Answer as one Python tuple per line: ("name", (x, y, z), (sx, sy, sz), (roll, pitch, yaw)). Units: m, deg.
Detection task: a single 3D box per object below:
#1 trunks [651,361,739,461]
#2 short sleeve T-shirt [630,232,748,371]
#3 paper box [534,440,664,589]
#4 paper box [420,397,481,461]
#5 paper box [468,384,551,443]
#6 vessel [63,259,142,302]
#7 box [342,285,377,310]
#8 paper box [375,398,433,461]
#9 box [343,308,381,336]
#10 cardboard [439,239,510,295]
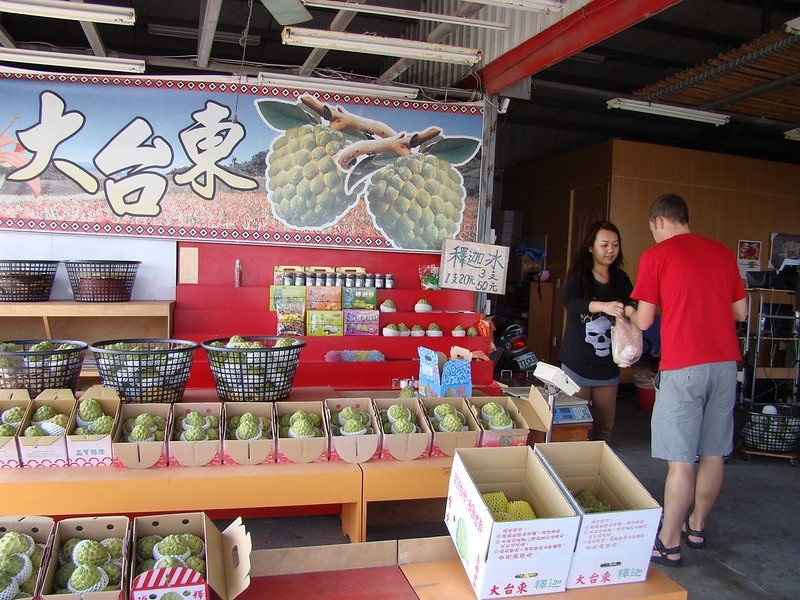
("trunks", (1.696, 0.631, 3.273), (0.418, 0.578, 0.198), (6, 7, 17))
("short sleeve T-shirt", (1.671, 0.020, 3.290), (0.595, 0.795, 0.239), (3, 6, -3))
("paper box", (0.721, 0.801, 2.241), (0.509, 0.271, 0.480), (-2, 15, -9))
("paper box", (0.247, 0.651, 3.010), (0.305, 0.125, 0.375), (3, 19, -6))
("paper box", (0.594, 0.640, 3.046), (0.388, 0.202, 0.358), (0, 16, -7))
("vessel", (-2.588, -0.158, 4.988), (0.486, 0.210, 0.440), (0, -5, 2))
("box", (-0.400, -0.013, 5.406), (0.415, 0.218, 0.203), (1, 1, -5))
("paper box", (-0.006, 0.659, 2.929), (0.269, 0.130, 0.411), (-1, 13, -11))
("box", (-0.353, 0.217, 5.292), (0.462, 0.253, 0.227), (1, -9, -12))
("cardboard", (0.595, -0.330, 5.490), (0.776, 0.459, 0.396), (5, -5, -30))
